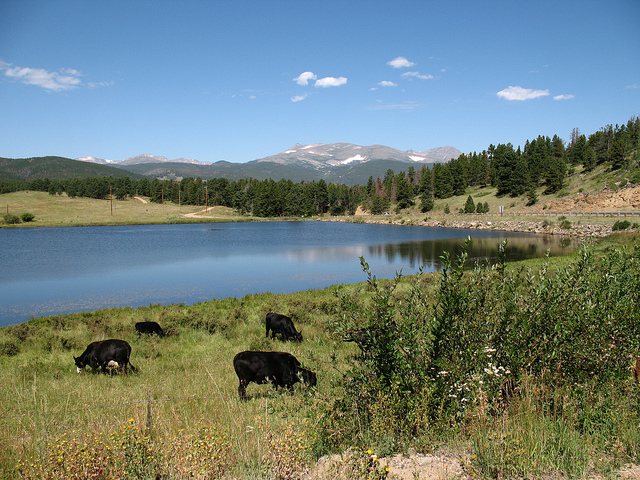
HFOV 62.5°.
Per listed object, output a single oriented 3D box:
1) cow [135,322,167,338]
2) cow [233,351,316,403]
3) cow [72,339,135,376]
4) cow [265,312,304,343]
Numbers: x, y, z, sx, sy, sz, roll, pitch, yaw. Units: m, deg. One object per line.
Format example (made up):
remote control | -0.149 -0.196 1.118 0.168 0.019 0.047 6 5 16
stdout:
cow | -8.034 4.261 25.040 1.287 0.635 0.741 -3 4 -17
cow | -1.479 4.680 17.915 2.822 1.772 0.838 4 -5 -13
cow | -8.199 4.582 20.034 2.389 1.493 0.734 -9 -1 9
cow | -1.728 4.016 24.194 2.138 1.128 0.646 1 4 37
